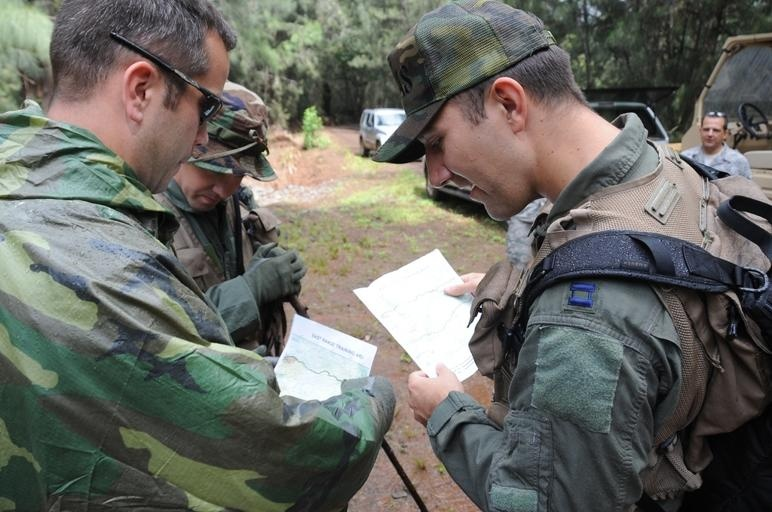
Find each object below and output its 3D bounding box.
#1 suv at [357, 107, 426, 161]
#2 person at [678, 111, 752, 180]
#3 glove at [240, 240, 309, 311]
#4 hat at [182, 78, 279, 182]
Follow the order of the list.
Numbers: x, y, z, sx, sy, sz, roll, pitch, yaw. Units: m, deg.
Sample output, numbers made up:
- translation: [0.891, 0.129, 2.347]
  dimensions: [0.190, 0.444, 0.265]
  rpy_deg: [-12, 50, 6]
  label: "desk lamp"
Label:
- translation: [-0.016, -2.585, 13.905]
  dimensions: [1.051, 1.193, 2.121]
  rpy_deg: [-10, 12, -20]
  label: "suv"
- translation: [3.350, -1.108, 7.030]
  dimensions: [0.377, 0.692, 0.813]
  rpy_deg: [-9, 14, -37]
  label: "person"
- translation: [-0.568, 0.106, 3.624]
  dimensions: [0.235, 0.350, 0.481]
  rpy_deg: [22, 11, 16]
  label: "glove"
- translation: [-0.758, -0.612, 3.574]
  dimensions: [0.433, 0.265, 0.455]
  rpy_deg: [25, 16, -14]
  label: "hat"
